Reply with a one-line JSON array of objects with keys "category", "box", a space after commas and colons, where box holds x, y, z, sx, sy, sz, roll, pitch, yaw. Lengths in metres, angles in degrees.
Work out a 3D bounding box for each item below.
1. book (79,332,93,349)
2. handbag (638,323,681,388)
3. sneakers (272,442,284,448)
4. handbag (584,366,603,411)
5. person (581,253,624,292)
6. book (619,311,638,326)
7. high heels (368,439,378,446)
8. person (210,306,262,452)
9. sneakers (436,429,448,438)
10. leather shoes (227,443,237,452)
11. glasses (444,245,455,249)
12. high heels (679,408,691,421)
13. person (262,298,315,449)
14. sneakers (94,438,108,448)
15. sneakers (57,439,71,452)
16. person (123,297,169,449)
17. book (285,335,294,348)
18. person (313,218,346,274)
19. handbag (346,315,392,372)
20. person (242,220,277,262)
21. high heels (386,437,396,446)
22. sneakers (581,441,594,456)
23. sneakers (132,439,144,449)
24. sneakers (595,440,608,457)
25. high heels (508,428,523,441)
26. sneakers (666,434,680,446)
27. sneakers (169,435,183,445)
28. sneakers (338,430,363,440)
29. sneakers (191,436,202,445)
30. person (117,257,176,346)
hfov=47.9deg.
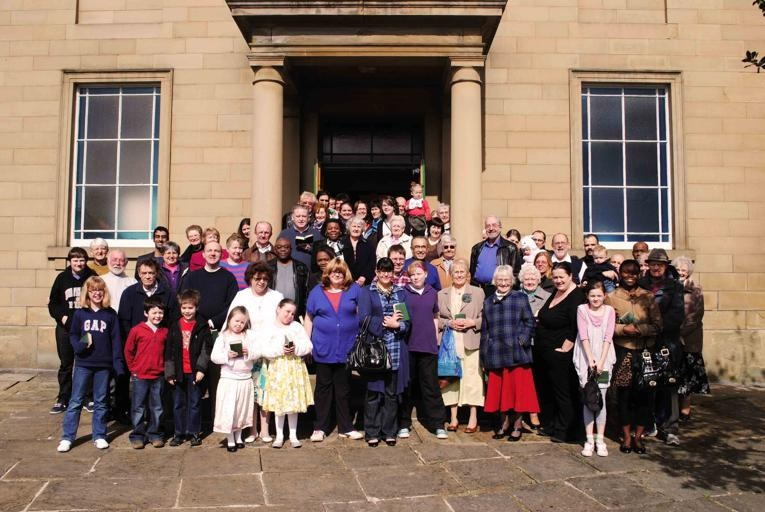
[{"category": "book", "box": [-4.290, 1.228, 12.490, 0.196, 0.215, 0.065, 1, 0, -17]}, {"category": "handbag", "box": [4.140, 1.539, 12.735, 0.438, 0.490, 0.900, 1, 0, 32]}, {"category": "sneakers", "box": [-1.544, 2.775, 12.665, 0.155, 0.083, 0.134, 1, 0, -9]}, {"category": "handbag", "box": [3.022, 1.960, 12.428, 0.278, 0.653, 0.213, 2, -1, -43]}, {"category": "person", "box": [3.632, 0.336, 14.172, 0.475, 1.086, 0.380, -1, 19, 31]}, {"category": "book", "box": [3.586, 0.915, 12.593, 0.223, 0.176, 0.040, 1, -1, 4]}, {"category": "high heels", "box": [-0.142, 2.767, 12.712, 0.155, 0.086, 0.067, 1, 0, -1]}, {"category": "person", "box": [-2.142, 1.787, 12.544, 0.714, 1.805, 0.318, 1, -1, -18]}, {"category": "sneakers", "box": [0.918, 2.682, 12.958, 0.215, 0.111, 0.124, 1, 0, -36]}, {"category": "leather shoes", "box": [-2.186, 2.791, 12.498, 0.129, 0.086, 0.097, 1, 0, -9]}, {"category": "glasses", "box": [1.069, -0.146, 13.814, 0.169, 0.045, 0.068, 1, 0, -14]}, {"category": "high heels", "box": [4.874, 2.554, 13.859, 0.105, 0.114, 0.305, 1, 2, 13]}, {"category": "person", "box": [-1.394, 1.729, 12.701, 0.748, 1.814, 0.339, 1, -1, -7]}, {"category": "sneakers", "box": [-4.090, 2.734, 12.524, 0.217, 0.157, 0.147, 1, 0, -8]}, {"category": "sneakers", "box": [-4.570, 2.745, 12.409, 0.195, 0.171, 0.140, 1, 0, -23]}, {"category": "person", "box": [-3.465, 1.701, 12.595, 0.596, 2.013, 0.275, 1, -1, -11]}, {"category": "book", "box": [-1.368, 1.265, 12.554, 0.144, 0.187, 0.144, -4, -6, 31]}, {"category": "person", "box": [-0.810, -0.020, 13.800, 0.630, 1.194, 0.406, -3, -4, -2]}, {"category": "handbag", "box": [-0.173, 1.312, 12.708, 0.793, 0.970, 0.449, 1, -22, -8]}, {"category": "person", "box": [-2.054, -0.226, 14.265, 0.734, 0.656, 0.370, 2, 2, -11]}, {"category": "high heels", "box": [0.119, 2.757, 12.745, 0.168, 0.105, 0.121, 1, 0, -2]}, {"category": "sneakers", "box": [2.979, 2.811, 12.526, 0.111, 0.105, 0.273, 3, 8, 13]}, {"category": "sneakers", "box": [-3.558, 2.746, 12.551, 0.101, 0.071, 0.161, 1, 8, -15]}, {"category": "sneakers", "box": [3.184, 2.801, 12.468, 0.134, 0.096, 0.253, -3, 7, 6]}, {"category": "high heels", "box": [2.007, 2.695, 13.037, 0.214, 0.135, 0.319, 1, 0, 8]}, {"category": "sneakers", "box": [4.345, 2.755, 12.941, 0.203, 0.099, 0.263, 1, 0, 18]}, {"category": "sneakers", "box": [-3.040, 2.736, 12.654, 0.100, 0.085, 0.207, -3, -15, -2]}, {"category": "sneakers", "box": [-0.463, 2.680, 12.935, 0.319, 0.118, 0.144, 1, -2, 9]}, {"category": "sneakers", "box": [-2.735, 2.734, 12.712, 0.162, 0.135, 0.096, 3, -4, 0]}, {"category": "person", "box": [-3.567, 1.003, 13.159, 0.979, 1.879, 0.704, -2, 6, -21]}]
